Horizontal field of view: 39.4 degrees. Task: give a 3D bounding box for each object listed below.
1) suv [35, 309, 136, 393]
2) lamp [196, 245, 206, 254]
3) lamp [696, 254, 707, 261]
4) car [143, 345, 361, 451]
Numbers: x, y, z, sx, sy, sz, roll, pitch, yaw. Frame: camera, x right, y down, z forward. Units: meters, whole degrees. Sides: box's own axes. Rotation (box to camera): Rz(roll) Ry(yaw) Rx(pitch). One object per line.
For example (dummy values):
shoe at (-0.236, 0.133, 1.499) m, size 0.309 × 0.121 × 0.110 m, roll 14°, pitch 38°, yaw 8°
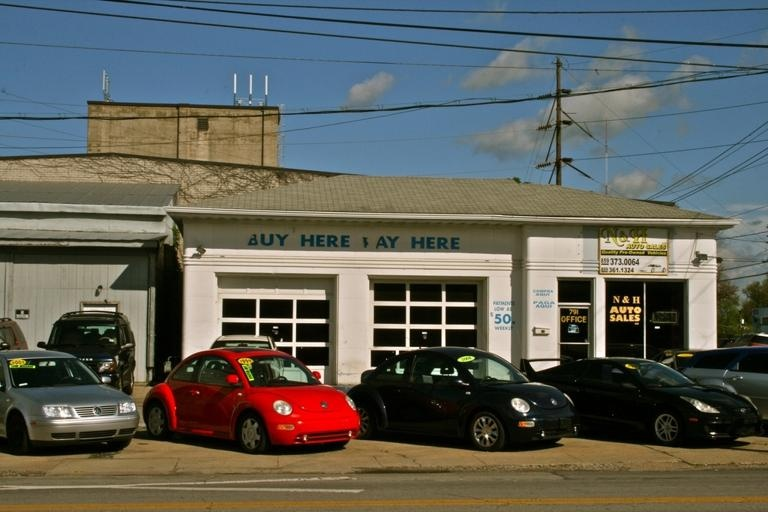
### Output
suv at (-8.415, 2.475, 30.568) m, size 2.348 × 1.632 × 3.236 m, roll 0°, pitch -8°, yaw -5°
lamp at (-5.684, -0.211, 33.419) m, size 0.256 × 0.191 × 0.233 m, roll -27°, pitch -38°, yaw 31°
lamp at (10.350, 0.016, 34.711) m, size 0.372 × 0.192 × 0.181 m, roll -1°, pitch 1°, yaw 3°
car at (-3.076, 3.326, 24.958) m, size 4.503 × 2.314 × 1.551 m, roll -3°, pitch -8°, yaw 27°
